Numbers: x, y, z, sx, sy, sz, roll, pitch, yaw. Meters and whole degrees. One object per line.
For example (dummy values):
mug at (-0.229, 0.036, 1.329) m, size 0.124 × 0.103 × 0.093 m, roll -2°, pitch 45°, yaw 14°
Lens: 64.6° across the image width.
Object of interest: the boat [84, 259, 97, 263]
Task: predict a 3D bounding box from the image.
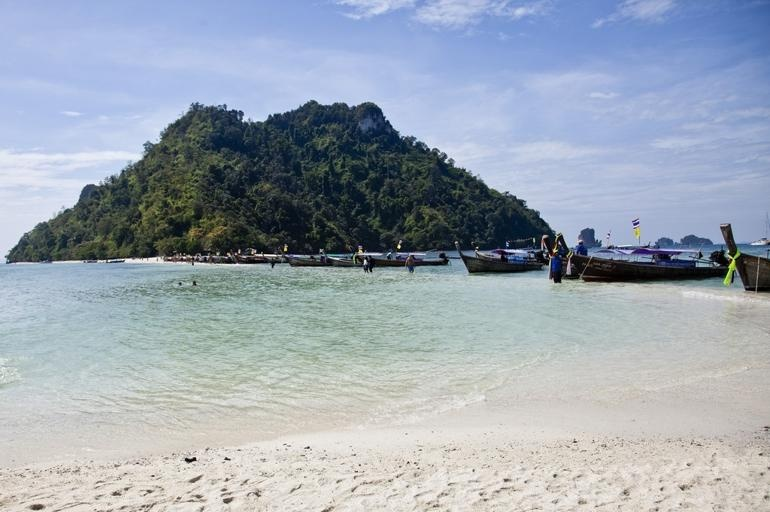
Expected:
boat at (-73.543, 1.440, 152.548) m, size 2.441 × 0.843 × 4.278 m, roll 0°, pitch 5°, yaw -35°

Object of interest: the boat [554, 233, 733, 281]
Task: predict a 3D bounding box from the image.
boat at (21.513, 0.553, 50.948) m, size 15.679 × 3.168 × 9.567 m, roll 1°, pitch -1°, yaw -44°
